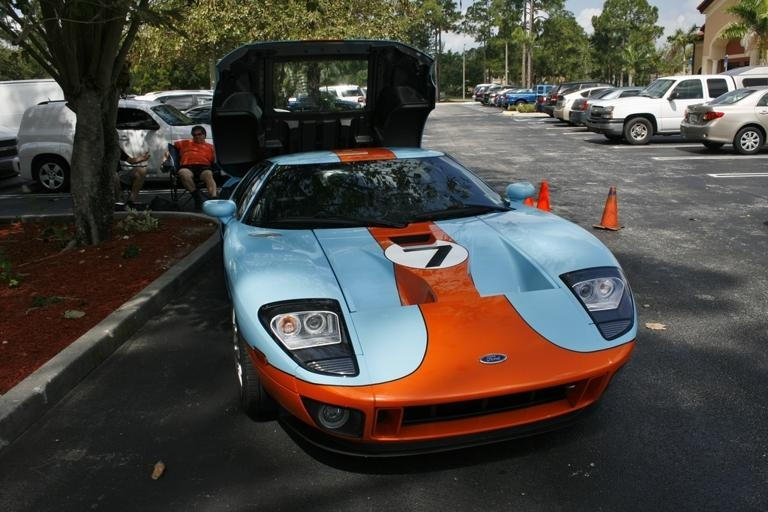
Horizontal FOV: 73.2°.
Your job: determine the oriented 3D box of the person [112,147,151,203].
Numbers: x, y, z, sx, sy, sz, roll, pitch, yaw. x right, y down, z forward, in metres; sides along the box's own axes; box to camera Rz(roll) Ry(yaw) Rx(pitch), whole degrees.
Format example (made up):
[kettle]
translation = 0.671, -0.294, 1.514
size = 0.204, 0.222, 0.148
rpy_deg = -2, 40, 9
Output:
[person]
translation = -5.197, -1.650, 10.787
size = 0.612, 1.277, 2.913
rpy_deg = -9, 18, -24
